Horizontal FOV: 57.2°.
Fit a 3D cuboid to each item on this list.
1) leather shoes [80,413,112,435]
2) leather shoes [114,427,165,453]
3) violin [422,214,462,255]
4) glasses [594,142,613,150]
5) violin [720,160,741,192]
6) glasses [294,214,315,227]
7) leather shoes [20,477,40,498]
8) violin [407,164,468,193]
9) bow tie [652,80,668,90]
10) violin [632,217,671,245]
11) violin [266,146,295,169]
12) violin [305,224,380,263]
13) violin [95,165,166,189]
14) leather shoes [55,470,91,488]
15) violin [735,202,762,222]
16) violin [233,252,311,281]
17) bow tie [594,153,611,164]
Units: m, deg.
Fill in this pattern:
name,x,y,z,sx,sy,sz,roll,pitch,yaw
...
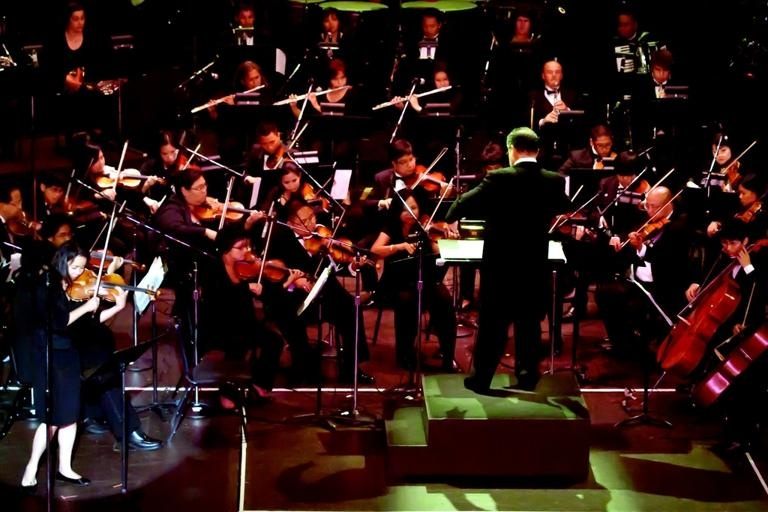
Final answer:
name,x,y,z,sx,sy,sz,roll,pitch,yaw
leather shoes,-2.717,1.590,6.633,0.311,0.108,0.168,15,24,14
leather shoes,-2.185,1.662,6.354,0.522,0.172,0.174,1,5,-3
violin,0.601,-0.227,7.513,0.415,0.393,0.656,6,4,12
glasses,2.717,-1.375,8.756,0.153,0.053,0.160,0,-1,5
violin,4.363,-1.019,8.856,0.181,0.417,0.251,-1,11,-4
glasses,-0.853,-0.389,7.696,0.257,0.111,0.079,2,7,-38
leather shoes,-2.891,1.872,5.728,0.123,0.110,0.129,3,5,-25
violin,0.596,-0.920,8.398,0.490,0.324,0.976,6,4,6
bow tie,3.578,-2.216,9.110,0.142,0.119,0.031,3,14,3
violin,3.017,-0.306,7.968,0.484,0.110,0.240,-33,19,7
violin,-1.312,-1.247,8.938,0.286,0.314,0.397,3,5,-29
violin,-0.509,-0.077,7.543,0.863,0.300,0.243,24,-6,6
violin,-3.205,-0.993,8.832,0.766,0.262,0.098,2,-41,-15
leather shoes,-2.585,1.869,5.918,0.330,0.109,0.100,3,3,-5
violin,4.090,-0.497,7.872,0.054,0.326,0.149,48,-10,-3
violin,-1.154,0.131,7.259,0.716,0.248,0.104,5,-26,-30
bow tie,2.731,-1.201,8.713,0.207,0.107,0.190,6,4,9
